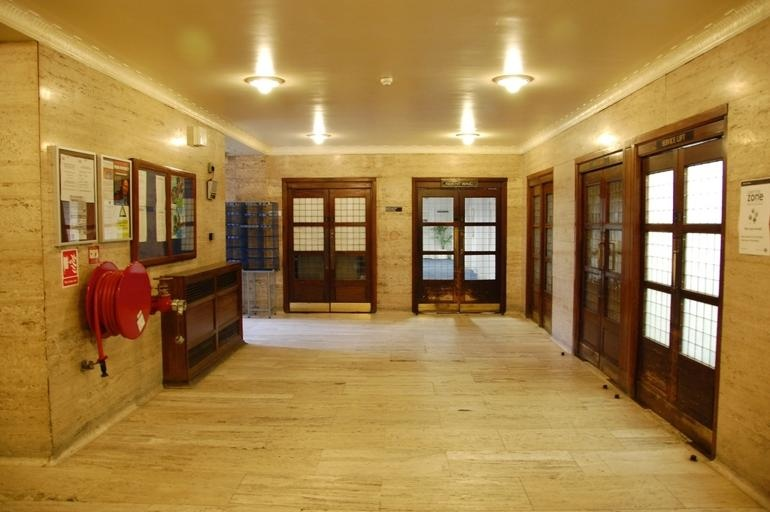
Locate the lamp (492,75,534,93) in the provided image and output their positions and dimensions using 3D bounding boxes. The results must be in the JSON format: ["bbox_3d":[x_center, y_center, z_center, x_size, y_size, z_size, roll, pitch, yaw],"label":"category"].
[{"bbox_3d":[1.563,-2.091,6.141,0.483,0.159,0.564,3,14,14],"label":"lamp"}]

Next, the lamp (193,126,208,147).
[{"bbox_3d":[-2.595,-1.662,7.056,0.187,0.279,0.484,-6,15,-19],"label":"lamp"}]

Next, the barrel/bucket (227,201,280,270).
[{"bbox_3d":[-2.555,-0.360,9.739,1.017,1.327,0.375,-4,15,-14],"label":"barrel/bucket"}]

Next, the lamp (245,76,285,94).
[{"bbox_3d":[-1.478,-2.083,6.159,0.456,0.164,0.593,-9,16,-31],"label":"lamp"}]

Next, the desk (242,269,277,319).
[{"bbox_3d":[-2.468,0.747,10.111,0.676,0.886,0.626,-2,-1,3],"label":"desk"}]
